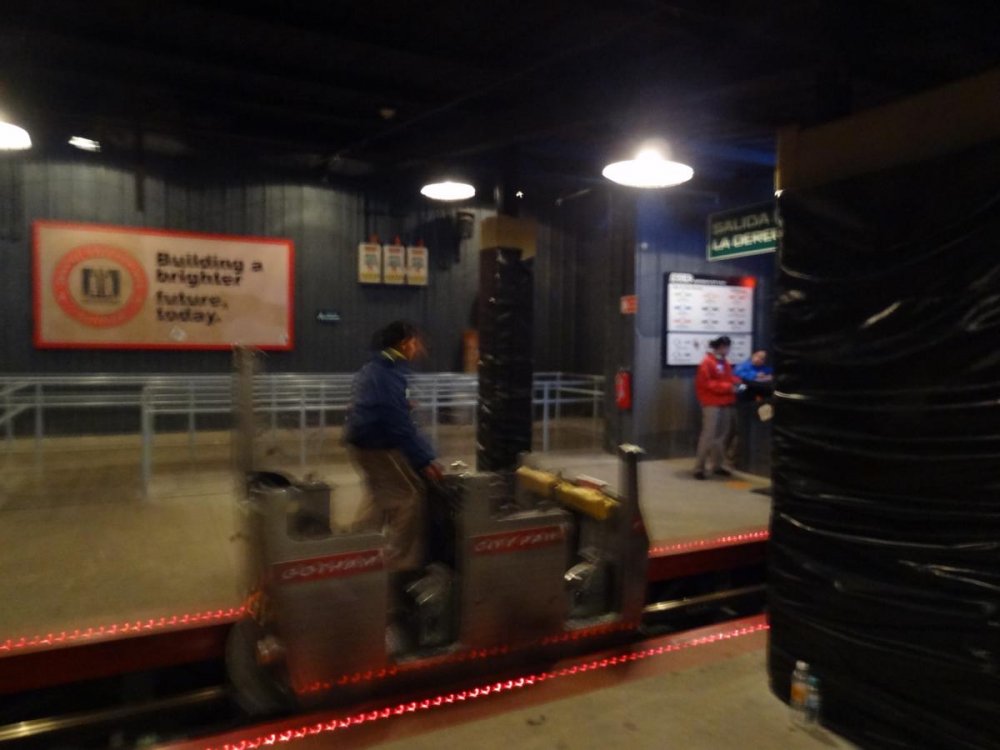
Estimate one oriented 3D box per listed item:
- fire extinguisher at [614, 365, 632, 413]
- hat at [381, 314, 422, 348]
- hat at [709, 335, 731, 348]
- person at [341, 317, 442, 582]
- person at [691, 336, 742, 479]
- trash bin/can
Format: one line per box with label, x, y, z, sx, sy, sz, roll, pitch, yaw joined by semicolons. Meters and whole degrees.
fire extinguisher;1.499;0.183;8.821;0.211;0.541;0.249;-4;10;2
hat;-0.681;-0.302;4.980;0.264;0.255;0.211;2;4;-10
hat;2.415;-0.364;8.028;0.186;0.127;0.236;1;11;26
person;-0.707;0.437;4.726;0.596;1.478;0.645;-7;10;-11
person;2.401;0.365;8.160;0.520;1.603;0.719;-2;10;14
trash bin/can;-1.090;0.857;4.066;0.486;0.591;0.546;6;-3;14
